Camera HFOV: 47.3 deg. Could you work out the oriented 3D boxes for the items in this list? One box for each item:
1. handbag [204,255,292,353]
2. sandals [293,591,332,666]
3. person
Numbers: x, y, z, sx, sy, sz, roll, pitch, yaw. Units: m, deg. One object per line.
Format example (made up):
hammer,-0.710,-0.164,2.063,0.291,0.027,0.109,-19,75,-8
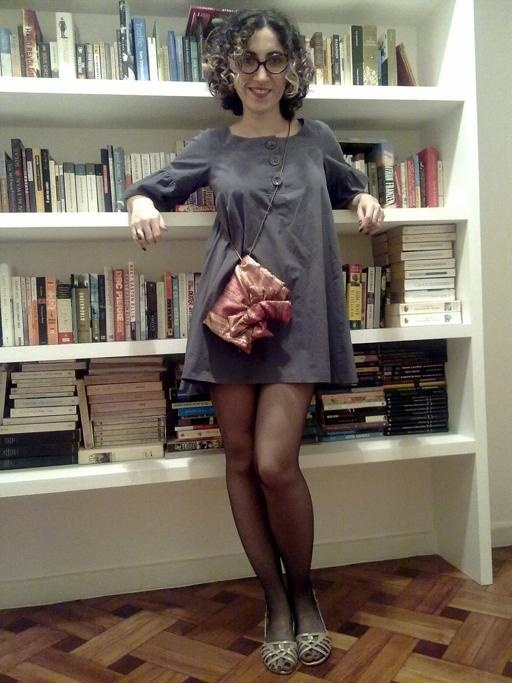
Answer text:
handbag,-0.033,-0.093,1.419,0.206,0.222,0.120,1,13,35
sandals,0.139,0.708,1.427,0.083,0.148,0.128,-6,10,4
person,0.015,0.013,1.580,0.493,1.696,0.663,0,13,33
